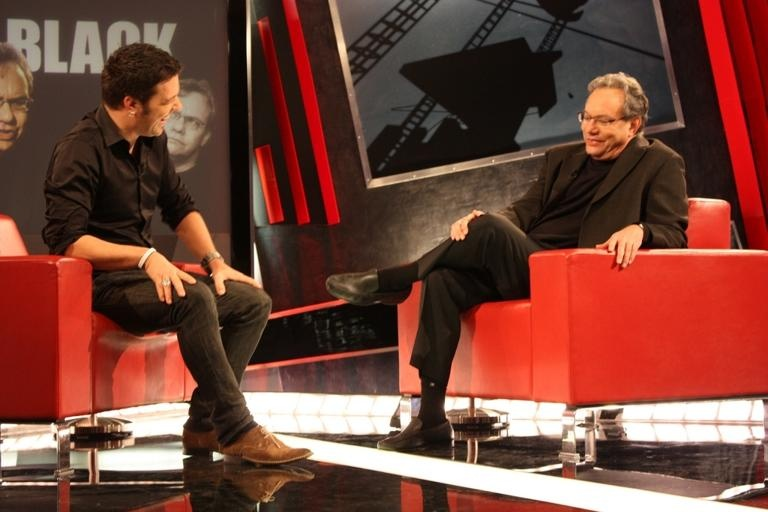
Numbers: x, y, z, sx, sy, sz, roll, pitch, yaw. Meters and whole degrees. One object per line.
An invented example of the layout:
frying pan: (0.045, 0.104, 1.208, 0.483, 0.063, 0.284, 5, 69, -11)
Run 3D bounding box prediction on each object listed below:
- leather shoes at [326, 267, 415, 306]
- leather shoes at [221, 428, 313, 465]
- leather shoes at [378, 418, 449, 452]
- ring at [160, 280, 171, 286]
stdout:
leather shoes: (-0.075, 0.136, 3.222, 0.341, 0.165, 0.141, 2, -46, -13)
leather shoes: (-0.443, 0.729, 2.791, 0.406, 0.165, 0.134, 2, -8, 1)
leather shoes: (0.155, 0.765, 3.114, 0.337, 0.133, 0.122, 1, -8, -25)
ring: (-0.841, 0.106, 2.762, 0.023, 0.022, 0.005, -10, -3, -8)
